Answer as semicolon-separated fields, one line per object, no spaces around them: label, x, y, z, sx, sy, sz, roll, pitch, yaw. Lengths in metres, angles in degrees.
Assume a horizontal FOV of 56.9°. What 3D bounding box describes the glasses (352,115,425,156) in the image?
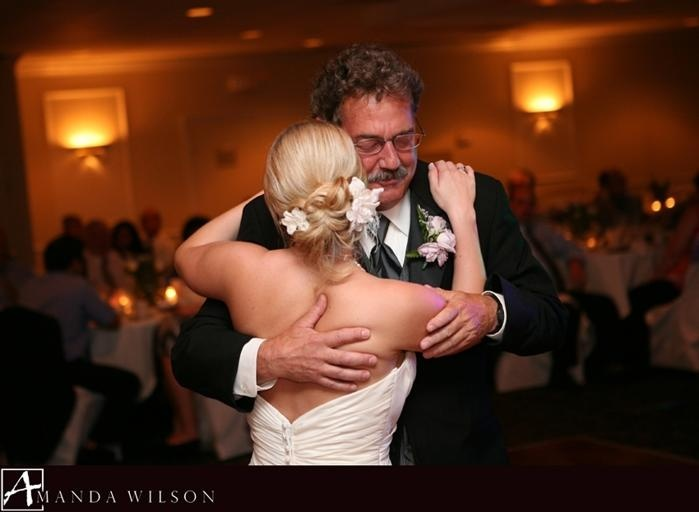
glasses;0.158;-0.568;3.166;0.230;0.071;0.230;-16;15;-13

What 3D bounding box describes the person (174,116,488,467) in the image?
person;-0.134;0.200;2.834;1.085;1.495;0.407;-4;-6;7

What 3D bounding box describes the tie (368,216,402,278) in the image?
tie;0.167;0.004;3.080;0.101;0.375;0.041;-8;-10;6

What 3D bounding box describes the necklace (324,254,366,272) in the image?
necklace;-0.023;0.028;2.782;0.084;0.057;0.112;2;-4;24
